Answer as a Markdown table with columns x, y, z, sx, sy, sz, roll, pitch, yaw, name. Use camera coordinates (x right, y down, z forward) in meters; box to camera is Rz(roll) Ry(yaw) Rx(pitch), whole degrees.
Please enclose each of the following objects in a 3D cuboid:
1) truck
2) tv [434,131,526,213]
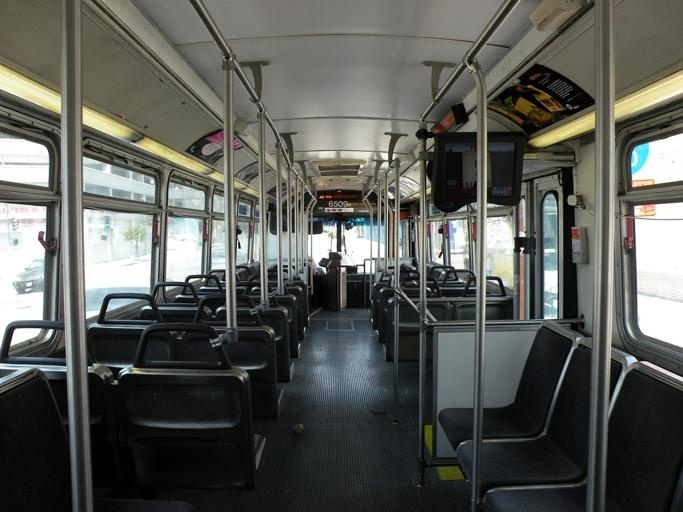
| x | y | z | sx | sy | sz | roll | pitch | yaw | name |
| --- | --- | --- | --- | --- | --- | --- | --- | --- | --- |
| 1.917 | 0.018 | 5.258 | 0.085 | 1.698 | 1.434 | 1 | 0 | -5 | truck |
| 0.966 | -0.612 | 3.376 | 0.748 | 0.717 | 0.267 | 1 | 18 | -3 | tv |
